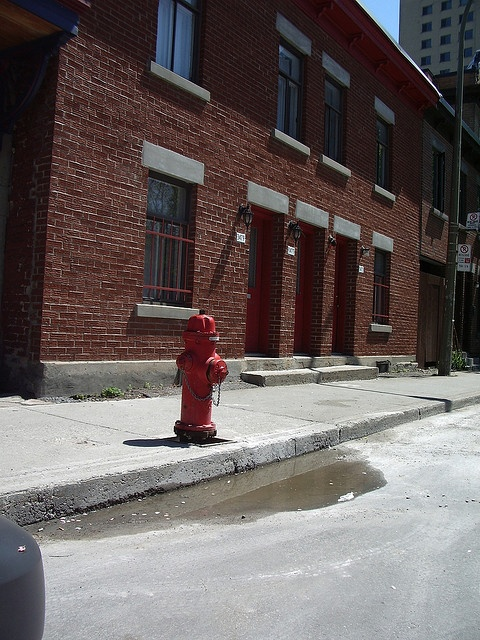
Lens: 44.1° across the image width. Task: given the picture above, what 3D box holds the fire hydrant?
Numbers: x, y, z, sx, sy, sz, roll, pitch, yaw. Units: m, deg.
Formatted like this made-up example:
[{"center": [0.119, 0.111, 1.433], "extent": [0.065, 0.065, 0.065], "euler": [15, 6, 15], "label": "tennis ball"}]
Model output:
[{"center": [-0.350, 0.504, 5.212], "extent": [0.442, 1.077, 0.305], "euler": [4, 1, 2], "label": "fire hydrant"}]
